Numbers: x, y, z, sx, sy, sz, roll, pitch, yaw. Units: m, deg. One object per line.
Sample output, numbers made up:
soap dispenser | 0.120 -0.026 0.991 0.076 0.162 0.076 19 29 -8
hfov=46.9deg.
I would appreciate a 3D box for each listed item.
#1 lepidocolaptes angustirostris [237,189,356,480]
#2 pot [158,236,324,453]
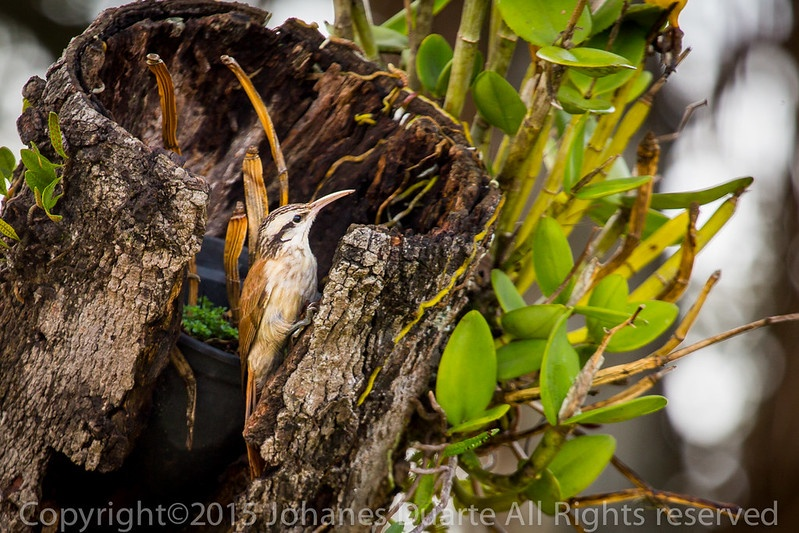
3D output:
lepidocolaptes angustirostris | -0.343 0.114 2.639 0.244 0.586 0.487 13 29 -4
pot | -0.447 0.273 2.865 0.495 0.394 0.479 23 12 -5
